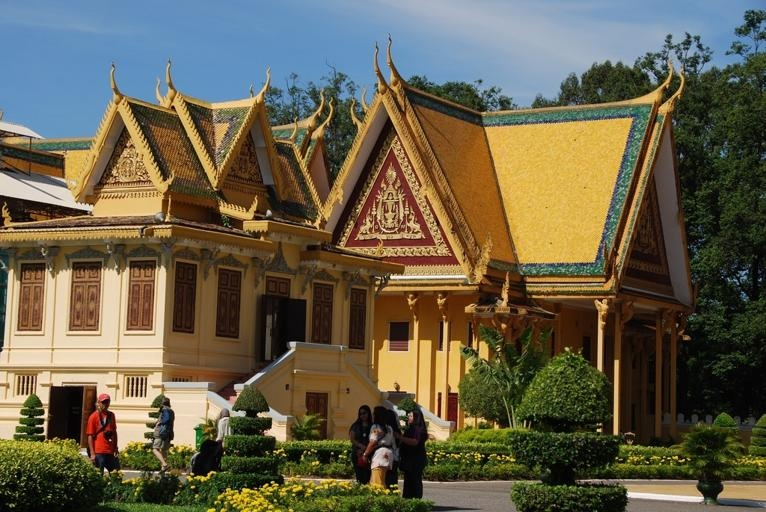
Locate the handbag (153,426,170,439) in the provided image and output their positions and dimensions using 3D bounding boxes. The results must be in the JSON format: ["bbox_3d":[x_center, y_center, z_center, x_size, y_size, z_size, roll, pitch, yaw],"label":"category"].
[{"bbox_3d":[-5.249,4.150,21.540,0.323,0.263,0.332,-21,13,-40],"label":"handbag"}]

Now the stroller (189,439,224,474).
[{"bbox_3d":[-3.646,4.159,18.920,0.638,0.703,0.459,1,-10,-11],"label":"stroller"}]

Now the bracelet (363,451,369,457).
[{"bbox_3d":[-0.350,3.849,17.750,0.083,0.111,0.030,-5,-7,32],"label":"bracelet"}]

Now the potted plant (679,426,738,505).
[{"bbox_3d":[8.276,5.201,23.255,1.672,2.028,1.705,2,-7,-17],"label":"potted plant"}]

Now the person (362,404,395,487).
[{"bbox_3d":[-0.093,3.673,17.709,0.540,1.517,0.695,-7,-12,30],"label":"person"}]

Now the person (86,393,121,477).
[{"bbox_3d":[-5.943,3.770,19.434,0.667,1.581,0.816,2,-11,-17],"label":"person"}]
